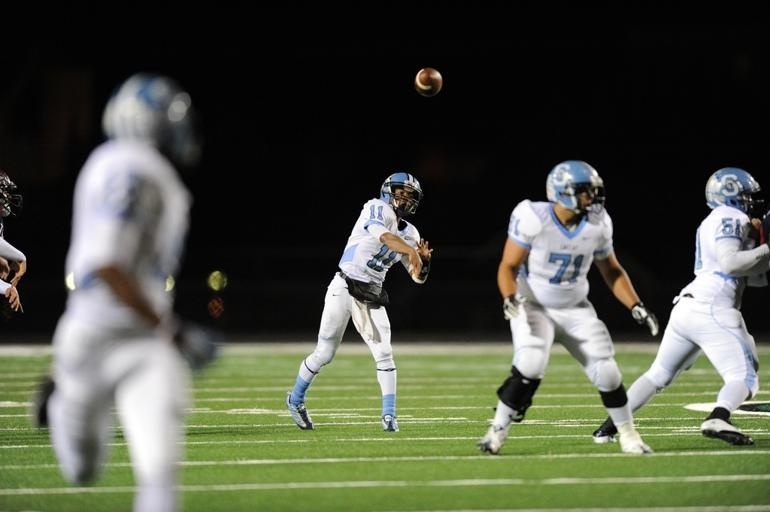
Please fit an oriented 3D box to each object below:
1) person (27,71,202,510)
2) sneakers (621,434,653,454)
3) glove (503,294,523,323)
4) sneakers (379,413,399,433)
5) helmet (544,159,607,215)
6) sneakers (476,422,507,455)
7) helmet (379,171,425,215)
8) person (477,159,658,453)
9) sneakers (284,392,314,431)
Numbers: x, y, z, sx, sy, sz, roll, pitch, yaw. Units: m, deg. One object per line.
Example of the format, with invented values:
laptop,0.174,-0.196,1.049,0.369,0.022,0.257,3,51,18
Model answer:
person,-1.202,0.237,4.175,0.714,2.163,0.793,-1,9,-21
sneakers,1.919,1.441,6.833,0.223,0.139,0.064,13,43,-23
glove,0.936,0.381,6.626,0.129,0.222,0.269,3,8,9
sneakers,0.025,1.497,8.056,0.155,0.148,0.112,-2,-4,4
helmet,1.425,-0.529,6.871,0.442,0.332,0.358,4,14,29
sneakers,0.794,1.390,6.755,0.174,0.272,0.116,26,50,-1
helmet,0.149,-0.605,8.616,0.357,0.350,0.417,16,5,-19
person,1.325,0.390,6.777,1.157,2.164,0.604,2,8,1
sneakers,-0.782,1.391,8.206,0.146,0.417,0.176,-29,-15,-32
